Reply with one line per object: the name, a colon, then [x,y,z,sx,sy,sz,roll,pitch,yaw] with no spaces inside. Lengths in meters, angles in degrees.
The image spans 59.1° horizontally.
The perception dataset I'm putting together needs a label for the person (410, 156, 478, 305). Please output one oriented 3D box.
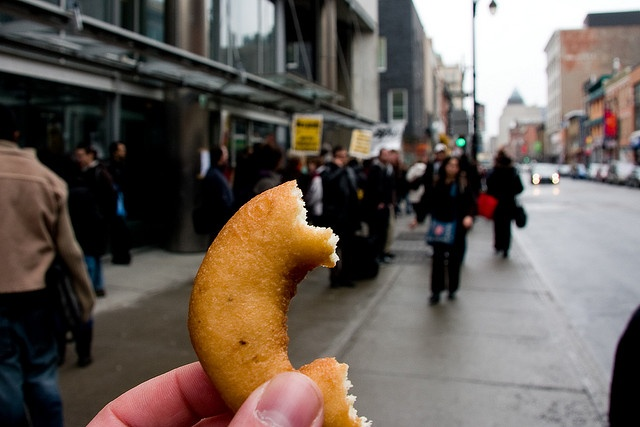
person: [1.134,0.111,5.156,0.462,1.434,0.454,2,18,14]
